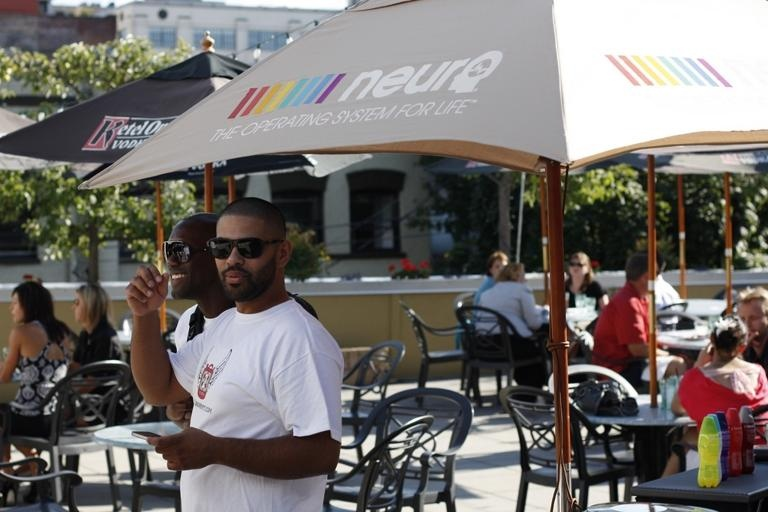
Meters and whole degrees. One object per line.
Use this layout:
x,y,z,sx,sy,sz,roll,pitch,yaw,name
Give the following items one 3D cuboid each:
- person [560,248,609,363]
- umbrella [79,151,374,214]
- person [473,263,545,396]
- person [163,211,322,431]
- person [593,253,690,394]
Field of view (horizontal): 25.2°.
2.456,0.784,22.304,0.563,1.734,0.495,7,13,22,person
-2.115,-0.965,22.135,2.691,0.871,0.975,-2,13,-16,umbrella
1.627,1.025,21.700,0.779,1.953,0.954,-5,-3,34,person
-1.344,0.647,16.337,0.971,2.401,1.460,2,31,17,person
2.974,0.915,19.759,1.097,1.960,0.931,2,1,17,person
